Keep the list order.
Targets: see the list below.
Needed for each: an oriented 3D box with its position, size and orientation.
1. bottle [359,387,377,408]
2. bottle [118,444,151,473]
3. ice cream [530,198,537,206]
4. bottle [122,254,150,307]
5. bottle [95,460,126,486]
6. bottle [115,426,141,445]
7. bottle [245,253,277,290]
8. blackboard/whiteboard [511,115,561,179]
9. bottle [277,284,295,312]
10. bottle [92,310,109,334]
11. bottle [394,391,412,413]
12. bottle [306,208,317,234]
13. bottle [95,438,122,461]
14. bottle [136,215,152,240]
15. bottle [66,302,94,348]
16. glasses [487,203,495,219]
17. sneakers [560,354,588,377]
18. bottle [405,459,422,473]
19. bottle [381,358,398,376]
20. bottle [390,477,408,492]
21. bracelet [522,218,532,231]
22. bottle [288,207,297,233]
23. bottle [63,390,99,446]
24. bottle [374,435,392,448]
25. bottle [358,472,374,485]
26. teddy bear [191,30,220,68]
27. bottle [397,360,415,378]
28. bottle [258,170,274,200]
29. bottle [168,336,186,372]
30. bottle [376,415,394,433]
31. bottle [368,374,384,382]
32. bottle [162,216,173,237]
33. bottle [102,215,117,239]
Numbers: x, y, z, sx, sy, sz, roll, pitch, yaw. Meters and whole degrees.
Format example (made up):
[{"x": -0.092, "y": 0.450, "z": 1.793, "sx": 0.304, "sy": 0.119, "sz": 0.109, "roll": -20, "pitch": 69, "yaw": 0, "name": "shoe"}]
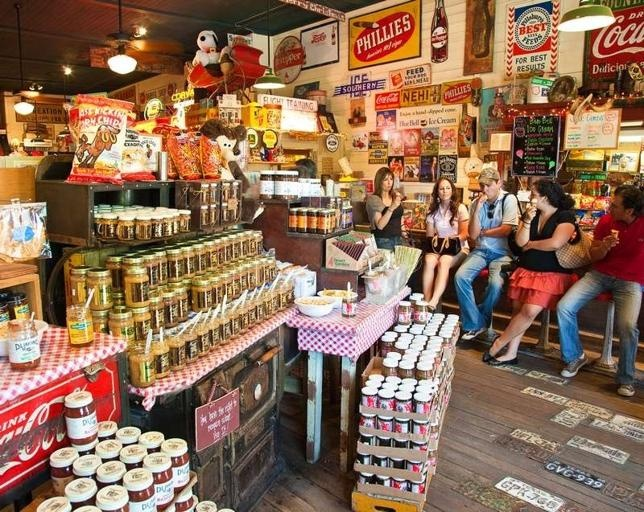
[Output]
[{"x": 0.273, "y": 0.814, "z": 2.744, "sx": 0.110, "sy": 0.096, "sz": 0.099, "roll": 0, "pitch": -1, "yaw": -8, "name": "bottle"}, {"x": -0.728, "y": 0.774, "z": 1.835, "sx": 0.085, "sy": 0.070, "sz": 0.083, "roll": -3, "pitch": 11, "yaw": -38, "name": "bottle"}, {"x": 2.041, "y": -0.526, "z": 4.589, "sx": 0.060, "sy": 0.062, "sz": 0.076, "roll": 4, "pitch": 2, "yaw": 4, "name": "ice cream"}, {"x": -0.950, "y": 0.128, "z": 2.414, "sx": 0.132, "sy": 0.240, "sz": 0.125, "roll": 0, "pitch": 15, "yaw": 0, "name": "bottle"}, {"x": -0.776, "y": 0.789, "z": 1.750, "sx": 0.082, "sy": 0.066, "sz": 0.082, "roll": 11, "pitch": 14, "yaw": 41, "name": "bottle"}, {"x": -0.788, "y": 0.721, "z": 1.918, "sx": 0.070, "sy": 0.016, "sz": 0.071, "roll": 7, "pitch": 14, "yaw": -2, "name": "bottle"}, {"x": -0.416, "y": 0.098, "z": 3.233, "sx": 0.162, "sy": 0.196, "sz": 0.241, "roll": 0, "pitch": -1, "yaw": 15, "name": "bottle"}, {"x": 2.593, "y": -1.344, "z": 5.765, "sx": 0.147, "sy": 0.718, "sz": 0.589, "roll": -14, "pitch": 20, "yaw": -40, "name": "blackboard/whiteboard"}, {"x": -0.254, "y": 0.282, "z": 3.302, "sx": 0.170, "sy": 0.151, "sz": 0.159, "roll": 5, "pitch": 8, "yaw": 27, "name": "bottle"}, {"x": -1.084, "y": 0.321, "z": 2.326, "sx": 0.081, "sy": 0.112, "sz": 0.051, "roll": -8, "pitch": 17, "yaw": -27, "name": "bottle"}, {"x": 0.463, "y": 0.829, "z": 2.692, "sx": 0.103, "sy": 0.094, "sz": 0.090, "roll": 2, "pitch": 14, "yaw": 10, "name": "bottle"}, {"x": -0.079, "y": -0.267, "z": 3.614, "sx": 0.079, "sy": 0.176, "sz": 0.045, "roll": -1, "pitch": 15, "yaw": -1, "name": "bottle"}, {"x": -0.832, "y": 0.748, "z": 1.843, "sx": 0.086, "sy": 0.064, "sz": 0.078, "roll": 2, "pitch": 6, "yaw": 12, "name": "bottle"}, {"x": -0.932, "y": -0.149, "z": 2.491, "sx": 0.037, "sy": 0.127, "sz": 0.097, "roll": 9, "pitch": 17, "yaw": 32, "name": "bottle"}, {"x": -1.053, "y": 0.296, "z": 2.051, "sx": 0.097, "sy": 0.170, "sz": 0.106, "roll": 0, "pitch": 15, "yaw": 0, "name": "bottle"}, {"x": 1.916, "y": -0.518, "z": 5.368, "sx": 0.037, "sy": 0.134, "sz": 0.093, "roll": 1, "pitch": 5, "yaw": -45, "name": "glasses"}, {"x": 2.417, "y": 1.044, "z": 4.539, "sx": 0.348, "sy": 0.121, "sz": 0.114, "roll": -27, "pitch": 15, "yaw": -23, "name": "sneakers"}, {"x": 0.513, "y": 1.171, "z": 2.661, "sx": 0.072, "sy": 0.060, "sz": 0.067, "roll": 5, "pitch": 10, "yaw": 26, "name": "bottle"}, {"x": 0.430, "y": 0.704, "z": 3.018, "sx": 0.109, "sy": 0.096, "sz": 0.102, "roll": 2, "pitch": 5, "yaw": 23, "name": "bottle"}, {"x": 0.440, "y": 1.281, "z": 2.705, "sx": 0.085, "sy": 0.065, "sz": 0.079, "roll": 2, "pitch": 7, "yaw": 0, "name": "bottle"}, {"x": 2.020, "y": -0.324, "z": 4.684, "sx": 0.094, "sy": 0.079, "sz": 0.088, "roll": -4, "pitch": 11, "yaw": -13, "name": "bracelet"}, {"x": -0.228, "y": -0.279, "z": 3.669, "sx": 0.077, "sy": 0.175, "sz": 0.046, "roll": 3, "pitch": 16, "yaw": 11, "name": "bottle"}, {"x": -0.968, "y": 0.640, "z": 1.890, "sx": 0.107, "sy": 0.187, "sz": 0.139, "roll": -11, "pitch": 18, "yaw": -34, "name": "bottle"}, {"x": 0.345, "y": 1.049, "z": 2.712, "sx": 0.076, "sy": 0.064, "sz": 0.069, "roll": 2, "pitch": -3, "yaw": -20, "name": "bottle"}, {"x": 0.258, "y": 1.281, "z": 2.765, "sx": 0.102, "sy": 0.079, "sz": 0.058, "roll": -1, "pitch": 2, "yaw": 13, "name": "bottle"}, {"x": -1.868, "y": -3.343, "z": 7.643, "sx": 0.413, "sy": 0.629, "sz": 0.601, "roll": -4, "pitch": 15, "yaw": -15, "name": "teddy bear"}, {"x": 0.527, "y": 0.708, "z": 2.997, "sx": 0.108, "sy": 0.083, "sz": 0.096, "roll": -1, "pitch": 3, "yaw": -3, "name": "bottle"}, {"x": -0.441, "y": -0.563, "z": 3.748, "sx": 0.117, "sy": 0.203, "sz": 0.185, "roll": -1, "pitch": 14, "yaw": -4, "name": "bottle"}, {"x": -0.743, "y": 0.492, "z": 2.422, "sx": 0.080, "sy": 0.162, "sz": 0.076, "roll": 0, "pitch": 15, "yaw": 0, "name": "bottle"}, {"x": 0.360, "y": 0.951, "z": 2.699, "sx": 0.098, "sy": 0.087, "sz": 0.090, "roll": 3, "pitch": 7, "yaw": 20, "name": "bottle"}, {"x": 0.341, "y": 0.751, "z": 2.937, "sx": 0.056, "sy": 0.028, "sz": 0.052, "roll": 0, "pitch": 12, "yaw": 0, "name": "bottle"}, {"x": -0.852, "y": -0.163, "z": 2.606, "sx": 0.008, "sy": 0.113, "sz": 0.064, "roll": 11, "pitch": 18, "yaw": 35, "name": "bottle"}, {"x": -1.084, "y": -0.153, "z": 2.423, "sx": 0.081, "sy": 0.124, "sz": 0.026, "roll": -7, "pitch": 17, "yaw": -24, "name": "bottle"}]
